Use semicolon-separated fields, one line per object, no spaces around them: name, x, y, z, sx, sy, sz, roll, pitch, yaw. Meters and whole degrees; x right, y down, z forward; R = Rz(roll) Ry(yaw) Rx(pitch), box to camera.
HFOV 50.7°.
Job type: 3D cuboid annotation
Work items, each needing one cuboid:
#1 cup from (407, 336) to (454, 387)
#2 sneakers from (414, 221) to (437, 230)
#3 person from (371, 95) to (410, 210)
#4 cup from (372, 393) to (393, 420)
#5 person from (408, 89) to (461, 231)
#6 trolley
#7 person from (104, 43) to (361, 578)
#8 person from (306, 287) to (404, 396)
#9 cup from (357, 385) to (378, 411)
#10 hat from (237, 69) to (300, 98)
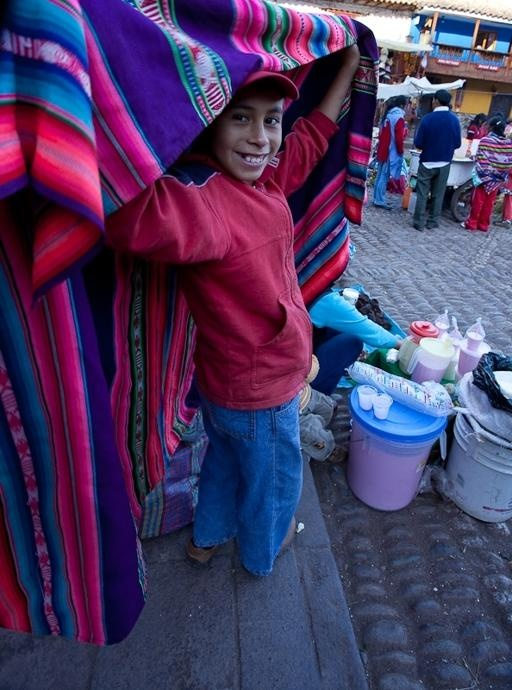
cup;0.910;0.053;2.858;0.257;0.239;0.165;-14;40;-22
sneakers;2.429;-1.729;7.745;0.210;0.071;0.145;-5;2;12
person;2.212;-3.127;8.970;0.492;1.548;0.944;12;29;10
cup;0.550;0.260;2.349;0.091;0.072;0.091;-1;38;1
person;2.461;-2.571;7.540;0.611;1.781;0.747;14;29;12
trolley;2.936;-2.437;8.296;1.110;0.982;0.746;-6;11;-19
person;-0.020;0.108;1.678;0.441;1.468;1.085;15;30;14
person;0.583;-0.044;3.003;0.251;0.722;0.525;-30;25;23
cup;0.501;0.239;2.438;0.088;0.067;0.089;2;29;-1
hat;0.036;-0.590;1.220;0.072;0.053;0.203;28;34;31
